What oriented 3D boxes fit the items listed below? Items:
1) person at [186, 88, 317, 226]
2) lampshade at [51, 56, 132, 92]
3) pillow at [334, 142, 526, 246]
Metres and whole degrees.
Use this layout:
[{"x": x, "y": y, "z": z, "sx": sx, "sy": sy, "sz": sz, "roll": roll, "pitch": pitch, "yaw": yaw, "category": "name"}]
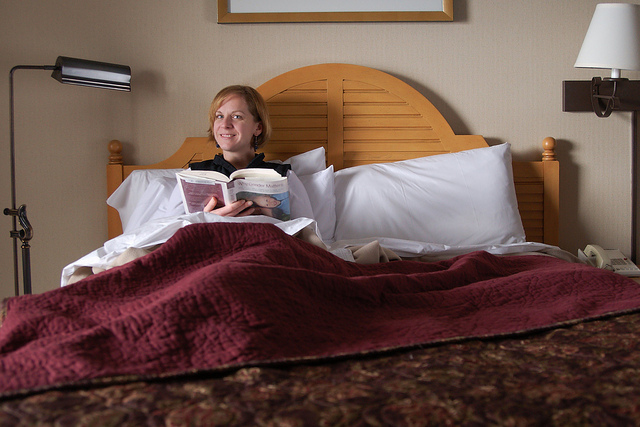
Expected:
[{"x": -0.297, "y": -0.249, "z": 2.476, "sx": 0.768, "sy": 0.583, "sz": 0.331, "roll": -1, "pitch": -11, "yaw": 2, "category": "person"}, {"x": -1.096, "y": -0.653, "z": 2.627, "sx": 0.285, "sy": 0.077, "sz": 0.189, "roll": 1, "pitch": 7, "yaw": -31, "category": "lampshade"}, {"x": 0.571, "y": -0.047, "z": 2.727, "sx": 0.885, "sy": 0.484, "sz": 0.262, "roll": -5, "pitch": 15, "yaw": 43, "category": "pillow"}]
